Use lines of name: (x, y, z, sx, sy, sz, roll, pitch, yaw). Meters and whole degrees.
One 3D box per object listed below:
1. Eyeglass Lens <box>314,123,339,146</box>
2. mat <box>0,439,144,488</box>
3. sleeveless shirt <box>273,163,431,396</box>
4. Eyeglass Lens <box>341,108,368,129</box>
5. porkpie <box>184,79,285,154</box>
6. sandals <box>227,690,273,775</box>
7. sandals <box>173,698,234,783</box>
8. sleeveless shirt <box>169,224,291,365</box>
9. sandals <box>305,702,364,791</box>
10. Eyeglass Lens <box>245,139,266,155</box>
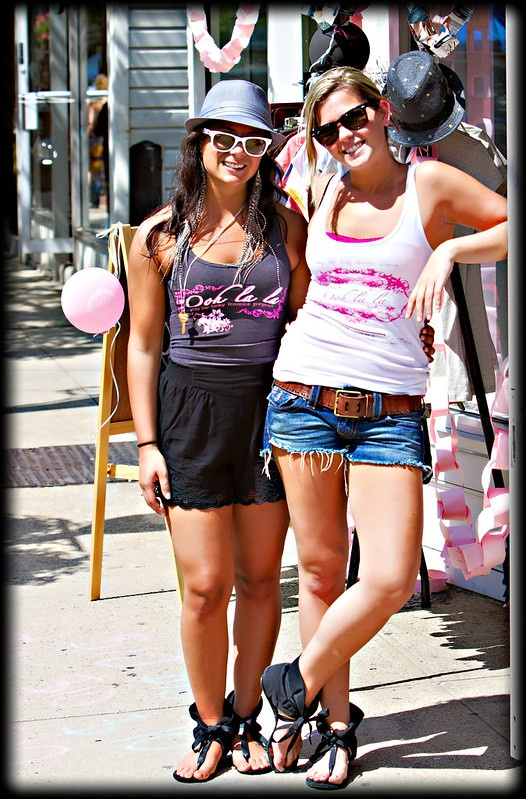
Eyeglass Lens: (0.148, -0.609, 1.607, 0.047, 0.048, 0.017, -18, -54, 36)
mat: (-1.606, 0.485, 5.216, 0.666, 0.201, 0.905, -1, 3, -12)
sleeveless shirt: (0.204, -0.276, 1.634, 0.372, 0.532, 0.224, 0, 3, 16)
Eyeglass Lens: (0.209, -0.631, 1.572, 0.052, 0.052, 0.022, -22, -44, 35)
porkpie: (-0.066, -0.720, 1.775, 0.175, 0.105, 0.196, 7, -18, -1)
sandals: (-0.043, 0.909, 1.896, 0.070, 0.089, 0.226, -3, 4, -12)
sandals: (-0.149, 0.908, 1.844, 0.092, 0.089, 0.215, 0, -4, 17)
sleeveless shirt: (-0.089, -0.283, 1.840, 0.311, 0.415, 0.234, -2, -1, -7)
sandals: (0.182, 0.879, 1.778, 0.092, 0.101, 0.240, 2, -2, 14)
Eyeglass Lens: (-0.017, -0.615, 1.712, 0.040, 0.018, 0.040, -7, 17, -34)
